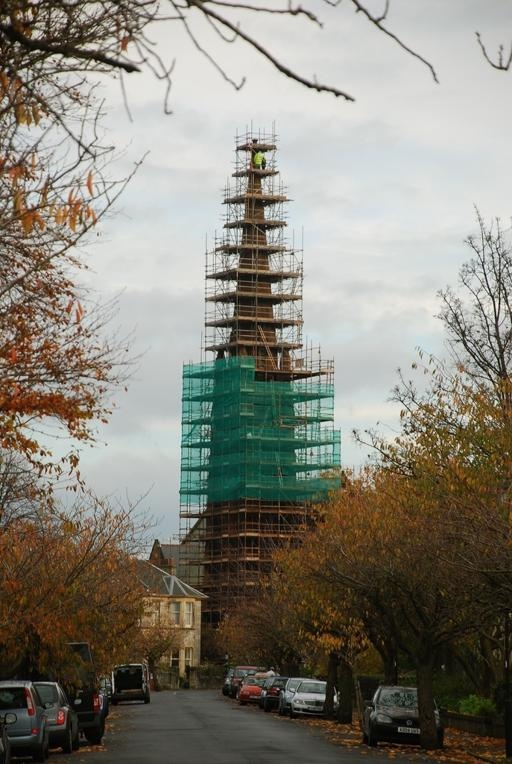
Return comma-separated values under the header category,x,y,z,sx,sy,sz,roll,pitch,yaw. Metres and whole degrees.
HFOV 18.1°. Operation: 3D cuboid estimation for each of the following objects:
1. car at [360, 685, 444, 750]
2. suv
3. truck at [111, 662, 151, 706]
category,x,y,z,sx,sy,sz,roll,pitch,yaw
car,2.693,6.849,32.542,0.872,0.971,1.859,2,-27,0
suv,-3.539,6.240,32.957,0.919,1.194,1.828,-1,0,-2
truck,-4.937,11.760,61.802,1.300,1.444,2.241,0,-5,-2
